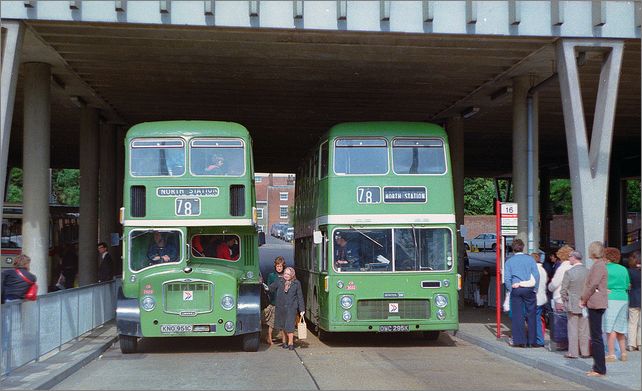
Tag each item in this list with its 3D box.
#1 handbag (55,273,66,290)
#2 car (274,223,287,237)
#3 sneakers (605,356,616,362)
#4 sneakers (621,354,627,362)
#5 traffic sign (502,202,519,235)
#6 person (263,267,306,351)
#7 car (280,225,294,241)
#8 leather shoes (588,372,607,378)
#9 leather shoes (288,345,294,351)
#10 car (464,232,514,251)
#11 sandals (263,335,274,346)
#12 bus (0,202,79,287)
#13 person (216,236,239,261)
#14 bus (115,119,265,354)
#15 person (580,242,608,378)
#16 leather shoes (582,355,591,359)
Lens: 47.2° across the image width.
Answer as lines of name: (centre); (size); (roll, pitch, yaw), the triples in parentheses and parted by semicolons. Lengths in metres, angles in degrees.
handbag: (-12.141, 3.969, 33.982); (0.418, 0.631, 1.138); (-1, 5, -20)
car: (-4.597, 3.804, 81.080); (1.359, 1.833, 3.820); (0, -3, -9)
sneakers: (8.268, 4.625, 20.976); (0.176, 0.131, 0.337); (0, -9, 0)
sneakers: (8.731, 4.595, 21.100); (0.170, 0.211, 0.309); (3, 5, 21)
traffic sign: (6.052, 0.741, 23.707); (0.836, 1.072, 0.327); (-4, 7, -45)
person: (-1.085, 3.511, 23.003); (1.037, 2.547, 0.509); (1, 5, -2)
car: (-3.405, 3.752, 72.897); (1.361, 1.155, 3.766); (0, -2, -7)
leather shoes: (7.396, 4.752, 19.637); (0.428, 0.183, 0.161); (3, -3, 10)
leather shoes: (-0.968, 4.713, 22.955); (0.146, 0.125, 0.318); (1, -9, -7)
car: (14.694, 4.194, 64.876); (3.593, 1.299, 1.730); (3, 0, 20)
sandals: (-1.712, 4.748, 24.077); (0.164, 0.210, 0.498); (2, -10, -16)
bus: (-13.599, 1.886, 35.882); (2.394, 2.302, 7.526); (0, -1, -4)
person: (-2.958, 1.648, 23.070); (0.630, 0.926, 1.145); (2, -2, -23)
bus: (-4.119, 0.971, 22.493); (4.131, 6.368, 2.013); (-1, 5, -14)
person: (7.443, 3.070, 19.933); (0.706, 3.461, 1.021); (3, 5, 20)
leather shoes: (7.704, 4.632, 21.290); (0.148, 0.149, 0.138); (5, -7, -38)
